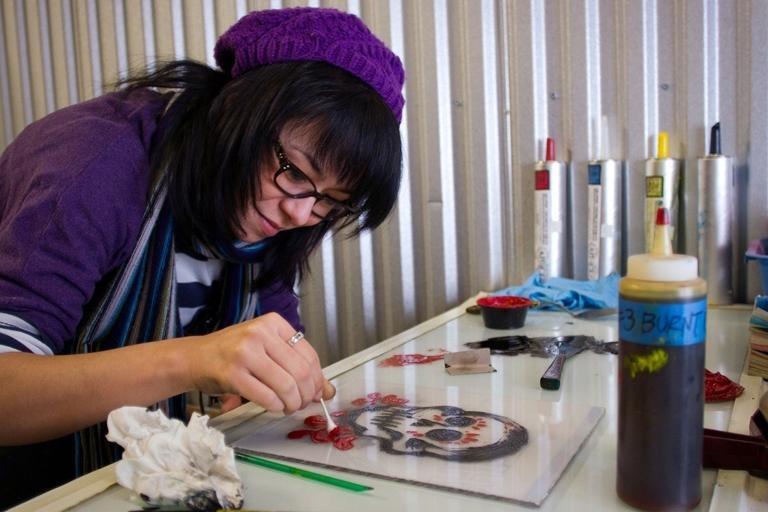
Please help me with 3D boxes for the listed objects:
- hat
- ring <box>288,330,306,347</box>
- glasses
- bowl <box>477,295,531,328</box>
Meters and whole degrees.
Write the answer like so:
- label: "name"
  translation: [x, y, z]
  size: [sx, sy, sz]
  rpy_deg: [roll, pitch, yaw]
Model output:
- label: "hat"
  translation: [-0.147, -0.428, 1.341]
  size: [0.320, 0.135, 0.259]
  rpy_deg: [22, -1, 9]
- label: "ring"
  translation: [-0.163, 0.155, 1.177]
  size: [0.006, 0.024, 0.025]
  rpy_deg: [30, 18, 16]
- label: "glasses"
  translation: [-0.144, -0.143, 1.300]
  size: [0.151, 0.045, 0.149]
  rpy_deg: [29, 22, -54]
- label: "bowl"
  translation: [0.327, 0.149, 1.668]
  size: [0.142, 0.061, 0.144]
  rpy_deg: [-3, 8, 0]
